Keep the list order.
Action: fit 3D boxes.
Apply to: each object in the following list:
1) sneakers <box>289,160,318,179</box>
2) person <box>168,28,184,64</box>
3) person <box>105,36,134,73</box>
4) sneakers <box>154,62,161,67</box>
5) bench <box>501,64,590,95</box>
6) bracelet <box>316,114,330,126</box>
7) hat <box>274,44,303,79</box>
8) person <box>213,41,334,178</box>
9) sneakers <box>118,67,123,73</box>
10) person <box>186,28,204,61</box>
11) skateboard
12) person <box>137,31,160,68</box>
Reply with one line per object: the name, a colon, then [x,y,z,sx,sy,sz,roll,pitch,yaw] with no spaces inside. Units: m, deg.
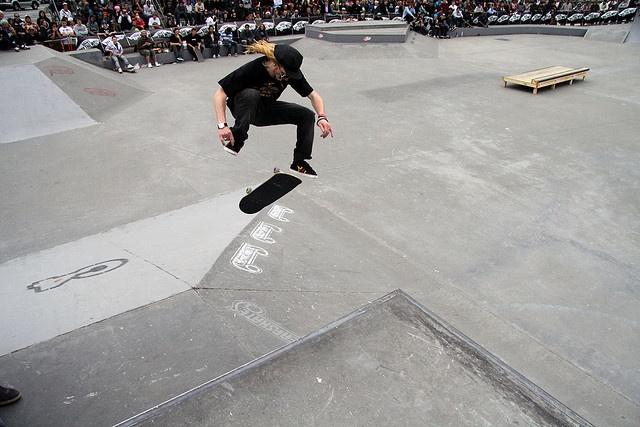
sneakers: [-0.240,-0.631,5.384,0.488,0.178,0.155,15,33,-2]
person: [-5.746,-6.721,15.515,0.538,1.147,0.894,-13,36,-13]
person: [-7.145,-5.658,13.744,0.749,1.146,0.944,-19,38,-21]
sneakers: [-6.251,-5.788,15.008,0.335,0.127,0.118,27,41,37]
bench: [6.325,-3.797,11.055,2.097,0.413,0.950,-16,35,-22]
bracelet: [0.020,-1.257,5.149,0.170,0.066,0.206,4,4,-16]
hat: [-0.381,-1.807,4.659,0.316,0.395,0.271,-5,35,-3]
person: [-0.687,-1.396,4.974,1.476,1.450,1.151,0,15,-36]
sneakers: [-7.054,-5.068,13.683,0.165,0.125,0.422,-17,34,-21]
person: [-5.120,-6.878,15.767,0.629,1.179,1.009,-12,36,-12]
skateboard: [-0.654,-0.336,5.554,1.215,0.372,0.165,-30,-2,-16]
person: [-6.543,-6.252,14.712,0.588,1.192,0.775,1,36,6]
